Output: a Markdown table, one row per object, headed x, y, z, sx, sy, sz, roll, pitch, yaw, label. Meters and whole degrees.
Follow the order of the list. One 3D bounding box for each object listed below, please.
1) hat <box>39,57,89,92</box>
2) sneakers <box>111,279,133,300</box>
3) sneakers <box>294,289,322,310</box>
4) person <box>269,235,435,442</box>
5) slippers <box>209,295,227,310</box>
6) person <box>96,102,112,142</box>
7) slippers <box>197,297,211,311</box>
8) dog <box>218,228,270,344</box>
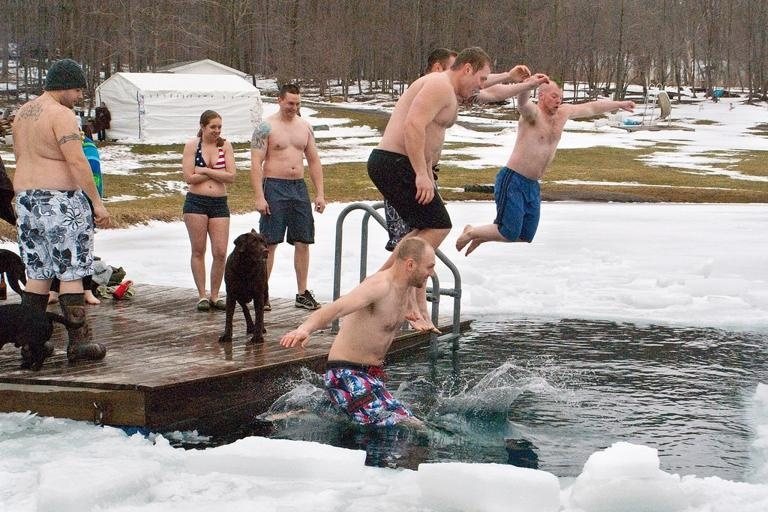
| x | y | z | sx | sy | sz | roll | pitch | yaw | label |
| --- | --- | --- | --- | --- | --- | --- | --- | --- | --- |
| -3.180 | -1.783 | 8.930 | 0.393 | 0.302 | 0.506 | -3 | 13 | -20 | hat |
| -3.335 | 0.438 | 11.403 | 0.110 | 0.090 | 0.244 | 31 | 13 | 0 | sneakers |
| -0.961 | 0.537 | 11.117 | 0.383 | 0.169 | 0.169 | 6 | 8 | 30 | sneakers |
| -0.201 | 0.901 | 8.566 | 1.118 | 1.569 | 0.695 | 0 | 14 | -7 | person |
| -2.021 | 0.579 | 10.947 | 0.254 | 0.085 | 0.116 | 1 | 35 | 3 | slippers |
| -11.164 | -5.288 | 35.699 | 0.715 | 1.429 | 0.563 | 4 | 6 | 3 | person |
| -2.185 | 0.584 | 10.873 | 0.162 | 0.134 | 0.176 | -1 | 13 | -10 | slippers |
| -1.553 | 0.306 | 9.813 | 0.525 | 1.208 | 0.626 | -1 | 14 | -10 | dog |
